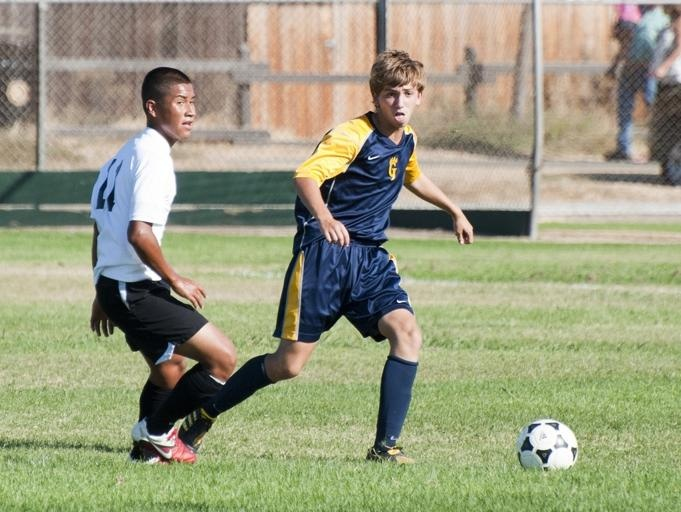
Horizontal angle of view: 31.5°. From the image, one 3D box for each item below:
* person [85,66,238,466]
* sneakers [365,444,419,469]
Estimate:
[{"bbox_3d":[-1.270,0.088,8.546,1.084,2.694,0.689,3,13,11],"label":"person"},{"bbox_3d":[0.346,1.427,8.507,0.313,0.122,0.134,0,0,16],"label":"sneakers"}]
